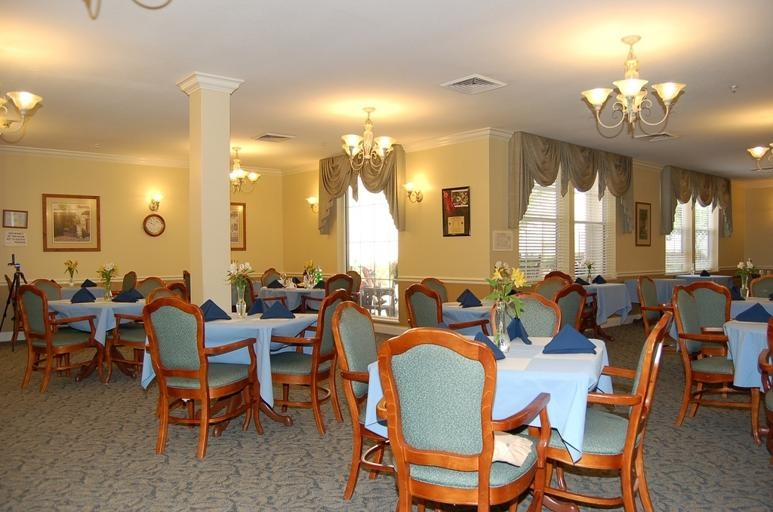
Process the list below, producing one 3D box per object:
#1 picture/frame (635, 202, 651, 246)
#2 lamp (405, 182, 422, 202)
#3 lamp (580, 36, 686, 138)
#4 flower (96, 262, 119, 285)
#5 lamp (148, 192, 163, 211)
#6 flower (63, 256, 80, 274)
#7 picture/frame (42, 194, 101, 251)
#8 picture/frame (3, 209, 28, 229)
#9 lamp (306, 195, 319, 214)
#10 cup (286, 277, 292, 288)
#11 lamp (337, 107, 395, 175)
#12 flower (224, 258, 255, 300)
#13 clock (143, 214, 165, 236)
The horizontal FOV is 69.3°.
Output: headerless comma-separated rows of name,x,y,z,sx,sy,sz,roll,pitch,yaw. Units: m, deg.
picture/frame,5.841,-0.700,12.705,0.742,1.033,0.134,-10,15,-42
lamp,0.506,-1.187,10.700,0.420,0.381,0.270,8,-10,-37
lamp,2.924,-2.059,6.697,1.119,1.077,1.183,-1,2,22
flower,-4.870,0.300,9.658,0.407,0.426,0.418,-4,-5,30
lamp,-4.917,-1.120,11.860,0.135,0.383,0.284,6,12,31
flower,-6.009,0.186,10.581,0.306,0.321,0.300,1,4,-13
picture/frame,-6.290,-0.653,11.004,1.125,1.393,0.052,0,-2,-38
picture/frame,-7.058,-0.685,10.544,0.351,0.330,0.035,4,-9,-38
lamp,-1.661,-1.147,12.476,0.316,0.373,0.344,0,-1,44
cup,-1.920,0.531,10.867,0.166,0.247,0.130,0,-6,-3
lamp,-0.302,-1.859,8.937,0.811,0.966,0.799,1,-4,2
flower,-1.660,0.375,6.429,0.308,0.388,0.281,6,2,3
clock,-4.953,-0.632,11.877,0.417,0.429,0.411,-11,-6,-37
